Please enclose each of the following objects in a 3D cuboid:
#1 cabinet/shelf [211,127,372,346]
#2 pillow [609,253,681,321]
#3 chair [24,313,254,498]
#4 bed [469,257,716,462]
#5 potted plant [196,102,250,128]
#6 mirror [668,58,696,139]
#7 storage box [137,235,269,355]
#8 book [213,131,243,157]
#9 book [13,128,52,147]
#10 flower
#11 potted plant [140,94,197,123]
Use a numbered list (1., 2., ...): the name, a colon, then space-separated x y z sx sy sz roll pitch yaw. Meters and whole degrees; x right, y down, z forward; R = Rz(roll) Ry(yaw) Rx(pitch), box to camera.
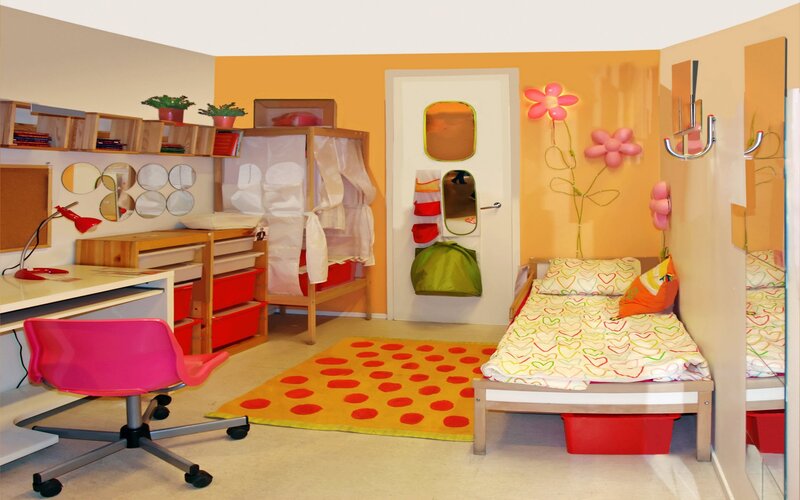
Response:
1. cabinet/shelf: -1.233 -0.319 7.143 2.272 2.842 2.072 0 4 16
2. pillow: 2.033 0.325 4.592 0.276 0.418 0.832 12 33 20
3. chair: -1.639 0.812 3.722 1.200 0.818 1.112 1 10 1
4. bed: 1.401 0.779 3.993 1.126 0.481 1.942 0 10 12
5. potted plant: -1.788 -1.337 5.764 0.464 0.221 0.429 0 0 -13
6. mirror: 1.669 -0.884 3.330 0.133 0.414 0.353 2 12 9
7. storage box: -1.708 0.363 4.793 0.471 0.895 1.169 0 3 17
8. book: -1.700 -1.024 5.701 0.355 0.293 0.246 2 1 -8
9. book: -2.708 -0.813 4.114 0.138 0.124 0.328 3 11 14
10. flower: 1.885 -0.845 6.042 1.179 1.814 0.287 5 13 21
11. potted plant: -2.115 -1.247 5.092 0.382 0.173 0.357 -1 1 3
